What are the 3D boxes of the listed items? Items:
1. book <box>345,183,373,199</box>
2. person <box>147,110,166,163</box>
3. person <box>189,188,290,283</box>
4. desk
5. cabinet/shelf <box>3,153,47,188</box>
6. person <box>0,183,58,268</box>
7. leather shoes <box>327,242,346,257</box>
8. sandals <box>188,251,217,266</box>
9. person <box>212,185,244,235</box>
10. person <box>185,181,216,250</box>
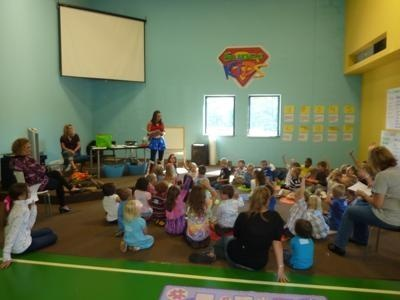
[{"bbox_3d":[2.441,0.592,4.642,0.317,0.102,0.310,-7,17,-38],"label":"book"},{"bbox_3d":[-1.105,-0.338,7.645,0.434,1.336,1.025,-1,6,-10],"label":"person"},{"bbox_3d":[0.518,0.992,3.823,0.533,0.846,1.190,-1,16,-7],"label":"person"},{"bbox_3d":[-2.400,0.139,8.799,1.676,0.797,3.093,-1,6,-10],"label":"desk"},{"bbox_3d":[-3.055,0.362,5.256,0.683,0.652,0.553,-9,4,-43],"label":"cabinet/shelf"},{"bbox_3d":[-2.404,0.950,4.152,0.380,1.047,0.810,2,7,20],"label":"person"},{"bbox_3d":[1.920,1.401,4.276,0.102,0.086,0.206,-11,19,-24],"label":"leather shoes"},{"bbox_3d":[0.037,1.423,3.995,0.293,0.124,0.142,3,1,4],"label":"sandals"},{"bbox_3d":[0.421,0.922,4.539,0.575,0.855,0.503,-3,15,-5],"label":"person"},{"bbox_3d":[-0.016,0.975,4.343,0.433,0.967,0.824,1,10,3],"label":"person"}]
